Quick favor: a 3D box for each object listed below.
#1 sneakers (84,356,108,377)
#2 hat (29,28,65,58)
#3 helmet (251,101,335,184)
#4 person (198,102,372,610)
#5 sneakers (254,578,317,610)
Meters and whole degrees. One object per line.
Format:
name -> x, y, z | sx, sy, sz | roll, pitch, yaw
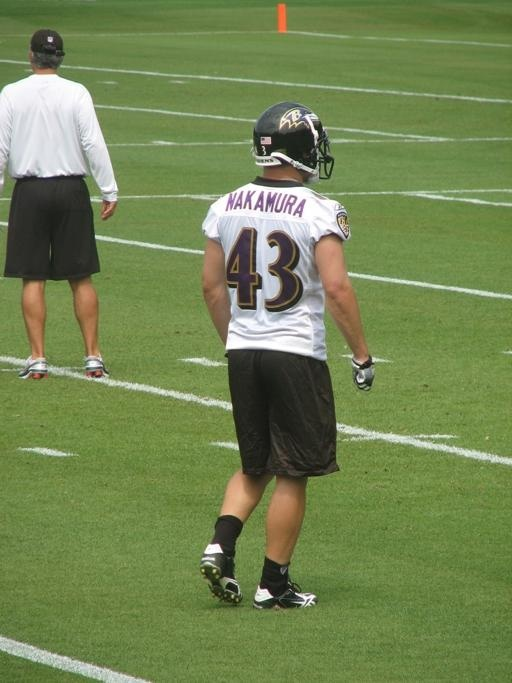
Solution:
sneakers -> -1.025, 0.174, 7.811 | 0.079, 0.077, 0.184 | 1, 7, 2
hat -> -1.317, -1.842, 7.804 | 0.201, 0.176, 0.264 | -3, 11, -11
helmet -> 0.115, -0.707, 4.530 | 0.245, 0.261, 0.331 | 12, 17, 40
person -> 0.093, 0.043, 4.367 | 0.643, 1.700, 0.751 | -2, 10, -5
sneakers -> 0.093, 0.862, 4.273 | 0.249, 0.117, 0.081 | 0, -3, -9
